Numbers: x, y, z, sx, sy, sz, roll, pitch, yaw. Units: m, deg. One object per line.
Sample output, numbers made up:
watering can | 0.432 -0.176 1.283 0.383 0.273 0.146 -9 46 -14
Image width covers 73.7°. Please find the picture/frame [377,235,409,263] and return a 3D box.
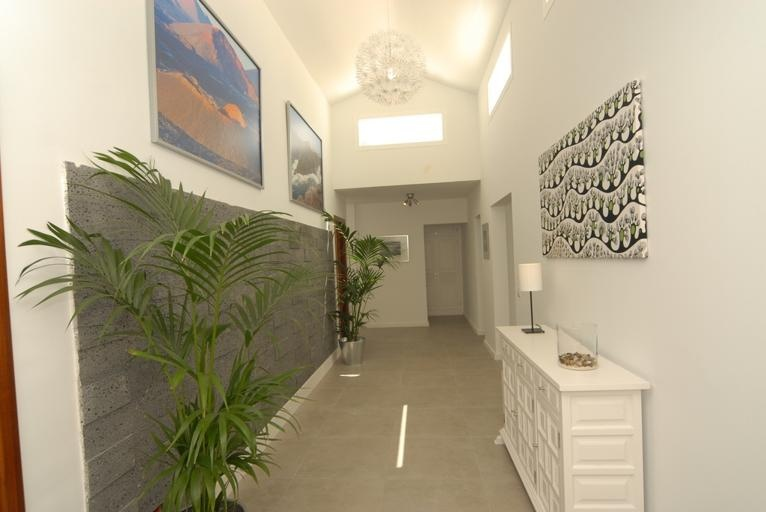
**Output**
picture/frame | 0.187 -0.105 8.662 0.468 0.532 0.035 0 -1 12

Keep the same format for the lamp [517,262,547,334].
lamp | 1.285 0.365 4.436 0.210 0.623 0.658 0 6 16
